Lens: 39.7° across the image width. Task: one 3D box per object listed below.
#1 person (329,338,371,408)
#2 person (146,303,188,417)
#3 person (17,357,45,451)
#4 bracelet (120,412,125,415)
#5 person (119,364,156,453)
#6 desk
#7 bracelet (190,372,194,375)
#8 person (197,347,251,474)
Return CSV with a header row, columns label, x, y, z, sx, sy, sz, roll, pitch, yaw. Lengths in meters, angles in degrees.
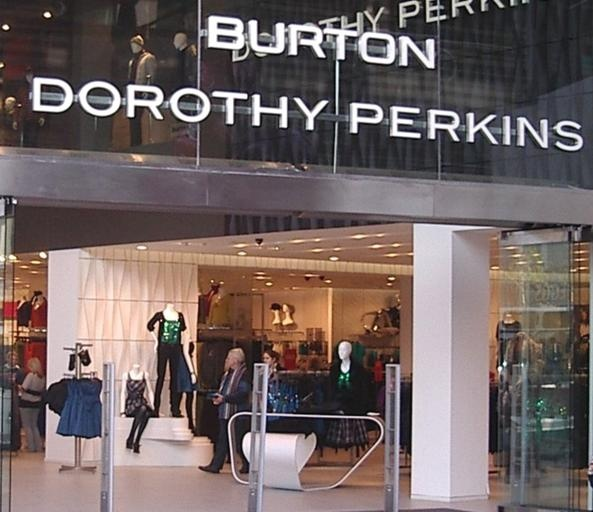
label,x,y,z,sx,sy,sz,roll,pitch,yaw
person,0.724,1.723,11.495,0.495,1.002,0.572,1,-5,2
person,-1.898,1.533,12.045,0.537,1.635,0.356,2,-4,-10
person,-4.040,2.292,12.661,0.373,1.414,0.560,4,-5,-30
bracelet,-2.454,2.248,11.618,0.053,0.049,0.059,1,-3,-2
person,-2.219,2.166,11.580,0.419,1.234,0.281,2,-5,-12
desk,-0.210,2.518,10.263,0.906,0.668,1.415,2,-6,1
bracelet,-1.536,1.729,12.083,0.037,0.045,0.039,-3,-6,45
person,-0.933,2.080,10.979,0.631,1.661,1.486,2,-5,-6
